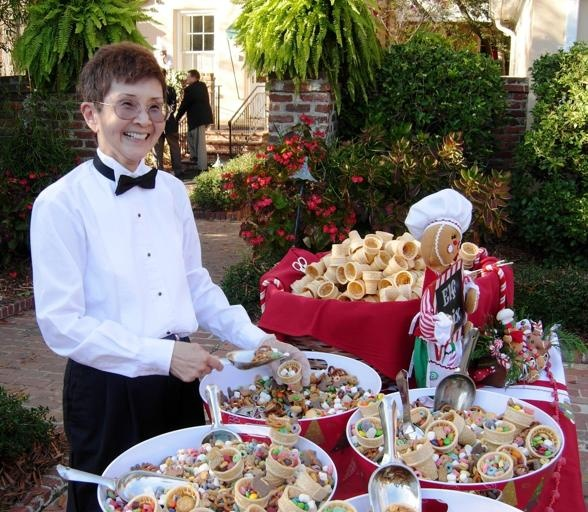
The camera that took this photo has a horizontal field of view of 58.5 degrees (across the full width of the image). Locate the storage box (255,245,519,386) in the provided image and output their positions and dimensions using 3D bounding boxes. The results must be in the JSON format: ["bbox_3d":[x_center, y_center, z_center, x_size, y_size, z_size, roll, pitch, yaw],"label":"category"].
[{"bbox_3d":[0.312,0.179,2.426,0.997,0.324,0.887,2,17,22],"label":"storage box"}]

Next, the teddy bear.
[{"bbox_3d":[0.546,0.153,1.957,0.232,0.891,0.394,12,39,33],"label":"teddy bear"}]

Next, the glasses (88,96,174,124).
[{"bbox_3d":[-0.497,-0.433,1.568,0.120,0.044,0.126,-5,10,-39],"label":"glasses"}]
